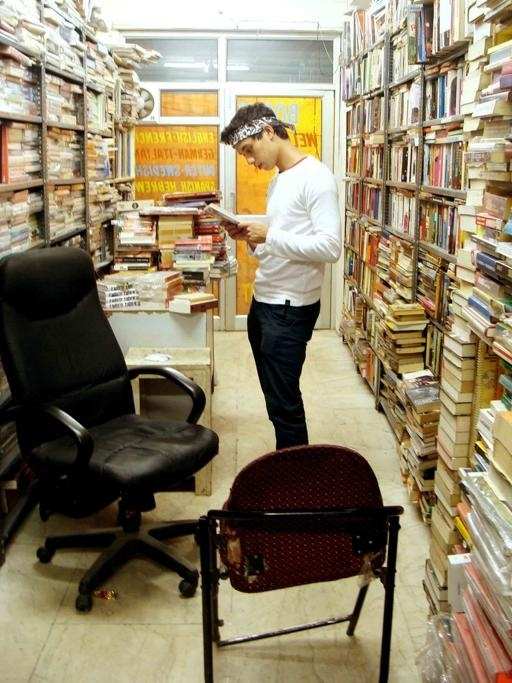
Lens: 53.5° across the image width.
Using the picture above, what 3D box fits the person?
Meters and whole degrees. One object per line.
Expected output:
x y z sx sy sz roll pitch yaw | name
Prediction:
0.130 -0.234 2.210 0.423 1.505 0.602 -6 19 -12 | person

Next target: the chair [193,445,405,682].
0.082 0.548 1.188 0.426 0.794 0.338 -3 19 -2 | chair
